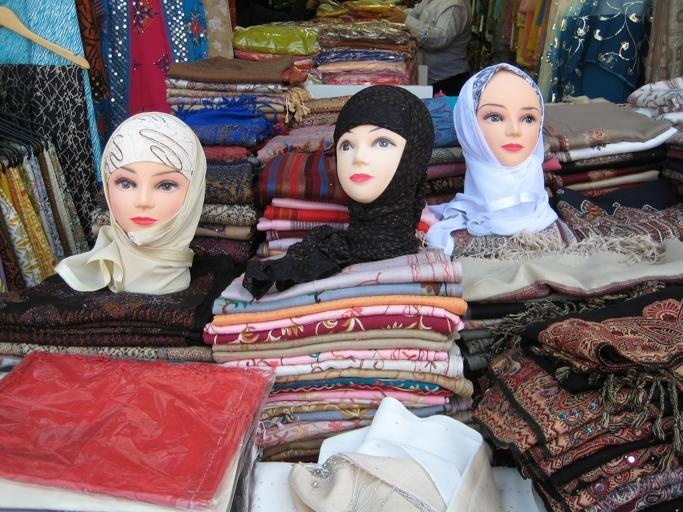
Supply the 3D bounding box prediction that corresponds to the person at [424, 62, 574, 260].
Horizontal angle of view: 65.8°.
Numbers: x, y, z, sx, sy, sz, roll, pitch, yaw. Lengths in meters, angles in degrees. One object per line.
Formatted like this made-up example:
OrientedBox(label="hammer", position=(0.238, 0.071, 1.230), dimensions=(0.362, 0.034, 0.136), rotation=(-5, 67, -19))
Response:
OrientedBox(label="person", position=(0.628, -0.361, 1.993), dimensions=(0.572, 0.670, 0.440), rotation=(3, 30, 7))
